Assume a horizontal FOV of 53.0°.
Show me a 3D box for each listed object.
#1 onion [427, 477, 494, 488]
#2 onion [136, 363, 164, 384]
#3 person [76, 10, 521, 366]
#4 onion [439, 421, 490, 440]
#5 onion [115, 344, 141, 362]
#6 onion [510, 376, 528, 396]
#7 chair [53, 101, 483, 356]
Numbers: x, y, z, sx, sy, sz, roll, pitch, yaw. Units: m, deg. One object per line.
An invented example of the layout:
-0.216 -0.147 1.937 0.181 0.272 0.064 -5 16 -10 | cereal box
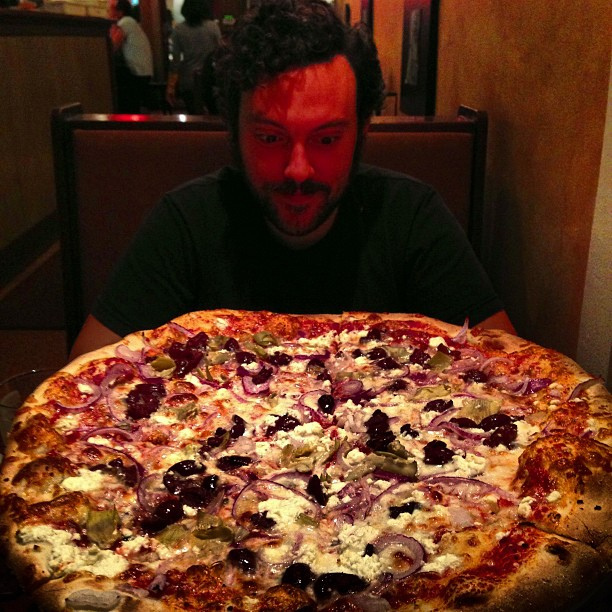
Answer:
0.352 0.403 1.407 0.143 0.013 0.025 3 21 12 | onion
-0.484 0.210 1.869 0.066 0.020 0.066 32 13 9 | onion
0.015 -0.496 2.505 2.062 1.067 0.653 -2 28 -2 | person
0.413 0.328 1.614 0.079 0.016 0.044 23 -17 -7 | onion
-0.563 0.151 1.944 0.069 0.014 0.049 22 26 12 | onion
0.618 0.236 1.787 0.021 0.069 0.021 14 10 -21 | onion
-0.134 -0.324 2.512 1.569 0.910 0.509 -1 16 -1 | chair
